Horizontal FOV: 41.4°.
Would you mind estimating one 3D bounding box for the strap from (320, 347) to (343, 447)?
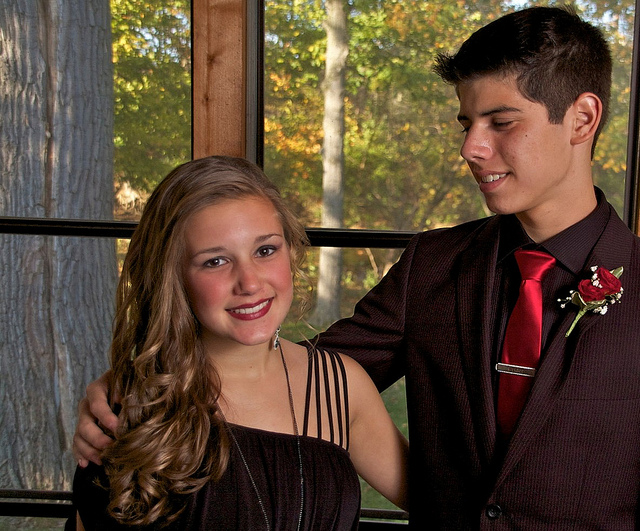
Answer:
[{"bbox_3d":[0.031,0.458,2.964,0.095,0.339,0.029,-1,-10,13],"label":"strap"}]

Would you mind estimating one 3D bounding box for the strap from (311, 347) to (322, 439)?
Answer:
[{"bbox_3d":[-0.002,0.450,2.950,0.018,0.332,0.022,0,7,9],"label":"strap"}]

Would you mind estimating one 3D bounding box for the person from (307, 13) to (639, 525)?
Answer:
[{"bbox_3d":[0.594,0.016,2.860,0.893,1.713,0.406,0,-1,34],"label":"person"}]

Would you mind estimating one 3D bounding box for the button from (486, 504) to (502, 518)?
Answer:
[{"bbox_3d":[0.549,0.777,2.665,0.046,0.043,0.005,0,0,10],"label":"button"}]

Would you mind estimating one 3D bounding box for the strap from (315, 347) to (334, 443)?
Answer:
[{"bbox_3d":[0.029,0.457,2.947,0.038,0.290,0.020,5,-12,-26],"label":"strap"}]

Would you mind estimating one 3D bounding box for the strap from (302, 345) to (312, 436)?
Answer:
[{"bbox_3d":[-0.037,0.444,2.936,0.041,0.338,0.031,2,4,-14],"label":"strap"}]

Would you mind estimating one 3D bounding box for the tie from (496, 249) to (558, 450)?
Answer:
[{"bbox_3d":[0.657,0.254,2.723,0.202,0.751,0.065,12,-34,8],"label":"tie"}]
